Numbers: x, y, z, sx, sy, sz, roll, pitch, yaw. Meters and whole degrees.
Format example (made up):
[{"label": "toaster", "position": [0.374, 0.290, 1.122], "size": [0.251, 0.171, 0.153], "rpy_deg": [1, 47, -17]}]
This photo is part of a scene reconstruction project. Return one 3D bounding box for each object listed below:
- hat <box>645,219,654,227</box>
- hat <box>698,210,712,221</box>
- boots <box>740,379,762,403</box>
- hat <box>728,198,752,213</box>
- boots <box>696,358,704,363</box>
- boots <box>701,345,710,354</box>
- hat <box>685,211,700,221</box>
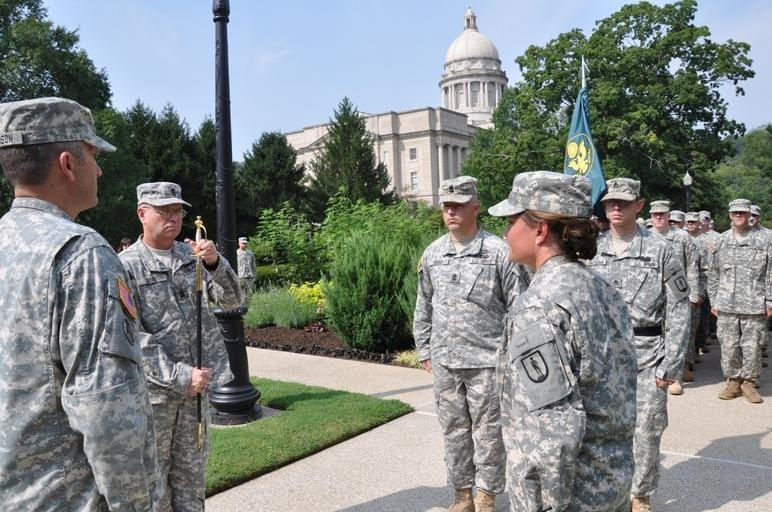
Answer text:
[{"label": "hat", "position": [4.866, -0.621, 16.213], "size": [0.178, 0.125, 0.261], "rpy_deg": [-3, -12, 27]}, {"label": "hat", "position": [6.654, -0.837, 18.206], "size": [0.354, 0.176, 0.334], "rpy_deg": [1, -1, 2]}, {"label": "boots", "position": [5.162, 1.888, 12.328], "size": [0.252, 0.252, 0.515], "rpy_deg": [-1, 2, 18]}, {"label": "hat", "position": [5.445, -0.750, 13.398], "size": [0.248, 0.107, 0.354], "rpy_deg": [3, -1, 35]}, {"label": "boots", "position": [5.357, 1.777, 14.966], "size": [0.097, 0.046, 0.094], "rpy_deg": [-2, 0, -41]}, {"label": "boots", "position": [5.845, 1.702, 15.944], "size": [0.099, 0.180, 0.288], "rpy_deg": [-6, -11, 27]}, {"label": "hat", "position": [5.639, -0.706, 16.102], "size": [0.238, 0.103, 0.338], "rpy_deg": [-1, 5, 32]}]
